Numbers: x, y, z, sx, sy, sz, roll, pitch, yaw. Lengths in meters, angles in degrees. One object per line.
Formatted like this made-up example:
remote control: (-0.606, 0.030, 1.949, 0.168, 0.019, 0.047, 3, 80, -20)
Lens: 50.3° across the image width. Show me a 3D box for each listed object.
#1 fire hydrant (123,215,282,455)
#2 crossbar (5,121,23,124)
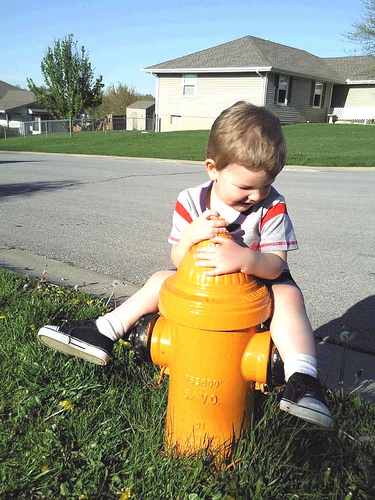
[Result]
fire hydrant: (0.035, 0.335, 1.348, 0.487, 0.728, 0.297, 3, 15, 8)
crossbar: (-22.561, -16.778, 52.492, 1.223, 0.187, 4.703, -7, 17, -27)
